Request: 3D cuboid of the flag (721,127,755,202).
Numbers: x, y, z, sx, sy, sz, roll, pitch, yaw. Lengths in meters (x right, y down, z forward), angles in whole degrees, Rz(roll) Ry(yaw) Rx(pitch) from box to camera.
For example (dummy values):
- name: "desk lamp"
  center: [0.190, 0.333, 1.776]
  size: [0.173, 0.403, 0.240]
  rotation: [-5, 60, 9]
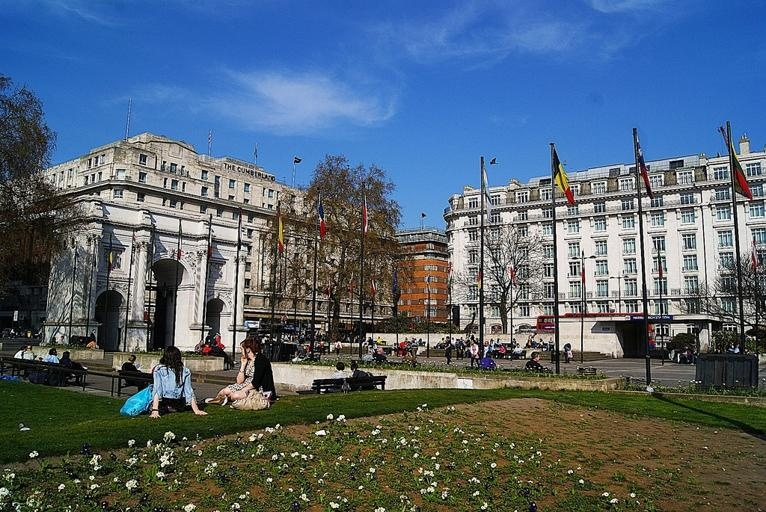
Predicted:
- name: "flag"
  center: [18.797, -4.542, 32.504]
  size: [0.722, 5.191, 0.206]
  rotation: [11, -36, 5]

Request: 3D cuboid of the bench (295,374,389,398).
- name: "bench"
  center: [-1.504, 5.463, 25.952]
  size: [1.840, 0.790, 3.869]
  rotation: [1, -1, 44]

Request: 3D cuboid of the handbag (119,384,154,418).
- name: "handbag"
  center: [-7.613, 4.485, 19.282]
  size: [0.830, 0.328, 1.053]
  rotation: [-6, 5, -3]

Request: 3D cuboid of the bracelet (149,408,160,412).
- name: "bracelet"
  center: [-6.940, 4.687, 18.623]
  size: [0.275, 0.069, 0.278]
  rotation: [-4, -8, 13]
